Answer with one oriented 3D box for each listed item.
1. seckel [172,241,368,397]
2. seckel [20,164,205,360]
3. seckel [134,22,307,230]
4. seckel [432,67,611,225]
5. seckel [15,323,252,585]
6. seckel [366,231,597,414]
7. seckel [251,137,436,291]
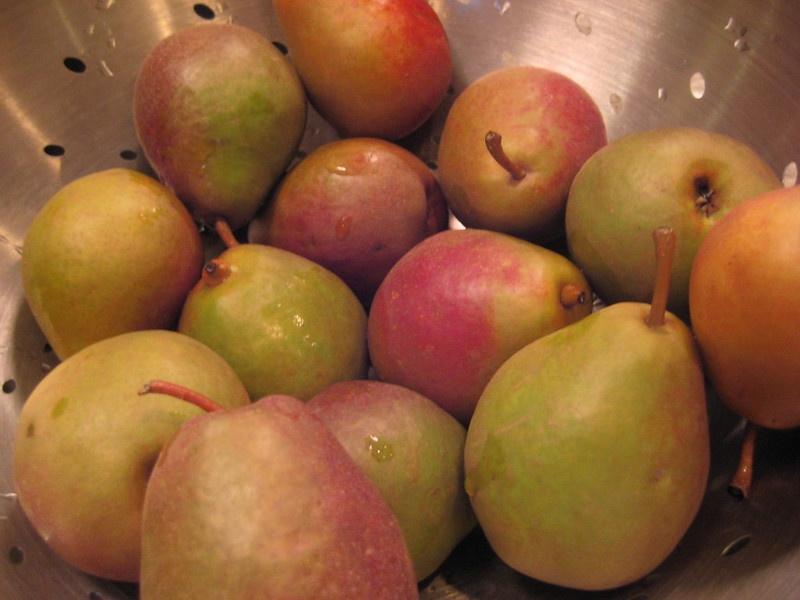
[{"bbox_3d":[-0.143,0.028,1.028,0.125,0.183,0.157,-15,48,25],"label":"seckel"},{"bbox_3d":[-0.293,-0.031,1.048,0.155,0.214,0.211,5,78,18],"label":"seckel"},{"bbox_3d":[-0.208,-0.204,1.091,0.162,0.184,0.236,-15,71,45],"label":"seckel"},{"bbox_3d":[0.142,-0.156,1.066,0.148,0.207,0.199,-13,98,13],"label":"seckel"},{"bbox_3d":[-0.266,0.134,0.966,0.215,0.207,0.228,33,91,3],"label":"seckel"},{"bbox_3d":[0.080,0.023,1.015,0.203,0.160,0.163,-33,42,9],"label":"seckel"},{"bbox_3d":[-0.068,-0.093,1.109,0.204,0.189,0.180,6,33,8],"label":"seckel"}]
